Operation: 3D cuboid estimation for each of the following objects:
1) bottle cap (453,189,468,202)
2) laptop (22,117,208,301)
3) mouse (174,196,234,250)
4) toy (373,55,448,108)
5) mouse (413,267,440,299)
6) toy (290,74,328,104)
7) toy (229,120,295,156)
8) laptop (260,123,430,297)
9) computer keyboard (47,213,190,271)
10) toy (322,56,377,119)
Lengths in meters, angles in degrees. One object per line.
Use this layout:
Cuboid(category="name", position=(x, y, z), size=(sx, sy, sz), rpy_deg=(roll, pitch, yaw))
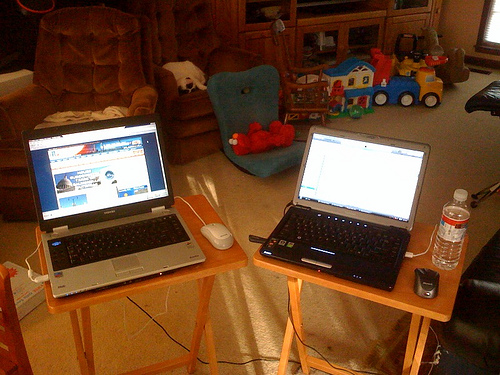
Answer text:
Cuboid(category="bottle cap", position=(0.760, 0.025, 1.485), size=(0.042, 0.021, 0.042), rpy_deg=(6, 35, 6))
Cuboid(category="laptop", position=(-0.512, 0.046, 1.512), size=(0.510, 0.440, 0.519), rpy_deg=(-15, 30, -24))
Cuboid(category="mouse", position=(-0.143, 0.158, 1.604), size=(0.052, 0.029, 0.204), rpy_deg=(-18, 44, -36))
Cuboid(category="toy", position=(1.798, -1.205, 4.703), size=(0.615, 0.441, 0.297), rpy_deg=(2, 36, 7))
Cuboid(category="mouse", position=(0.615, 0.325, 1.426), size=(0.084, 0.036, 0.135), rpy_deg=(5, 32, 15))
Cuboid(category="toy", position=(0.602, -0.999, 4.165), size=(0.345, 0.158, 0.726), rpy_deg=(3, 28, 9))
Cuboid(category="toy", position=(0.108, -0.406, 3.388), size=(0.469, 0.190, 0.278), rpy_deg=(-13, 45, -11))
Cuboid(category="laptop", position=(0.373, 0.051, 1.591), size=(0.511, 0.415, 0.515), rpy_deg=(11, 30, 23))
Cuboid(category="computer keyboard", position=(-0.488, 0.199, 1.546), size=(0.497, 0.036, 0.172), rpy_deg=(-11, 29, -17))
Cuboid(category="toy", position=(1.084, -1.132, 4.554), size=(0.551, 0.550, 0.344), rpy_deg=(-7, 35, 0))
